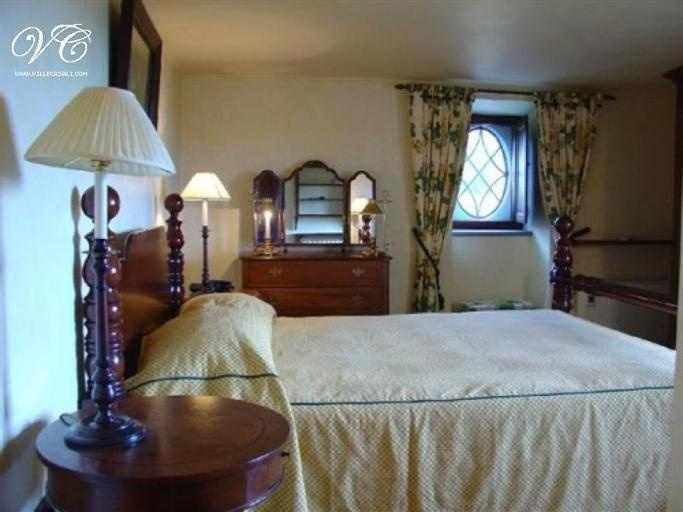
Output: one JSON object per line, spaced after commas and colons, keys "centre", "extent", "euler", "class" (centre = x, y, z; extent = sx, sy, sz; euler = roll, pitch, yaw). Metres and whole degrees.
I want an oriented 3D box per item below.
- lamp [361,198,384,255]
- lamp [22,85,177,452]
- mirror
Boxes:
{"centre": [0.256, -0.251, 5.129], "extent": [0.231, 0.508, 0.225], "euler": [-1, 1, -35], "class": "lamp"}
{"centre": [-0.742, -0.003, 1.873], "extent": [0.438, 1.088, 0.509], "euler": [-4, 12, -30], "class": "lamp"}
{"centre": [-0.135, -0.447, 5.106], "extent": [0.714, 0.676, 0.081], "euler": [0, 0, -8], "class": "mirror"}
